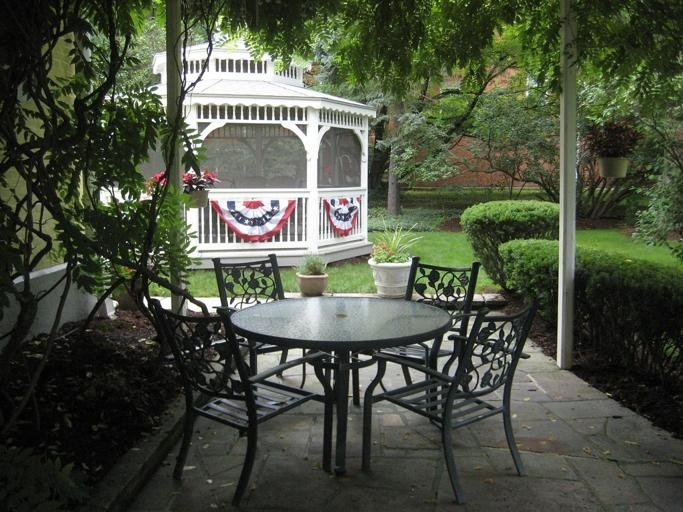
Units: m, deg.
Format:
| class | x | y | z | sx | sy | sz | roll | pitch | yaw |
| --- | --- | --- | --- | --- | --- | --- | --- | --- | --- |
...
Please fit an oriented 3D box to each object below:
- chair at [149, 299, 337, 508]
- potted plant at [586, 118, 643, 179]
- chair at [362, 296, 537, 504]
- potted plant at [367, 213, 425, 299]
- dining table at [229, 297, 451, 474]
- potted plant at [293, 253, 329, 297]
| class | x | y | z | sx | sy | sz | roll | pitch | yaw |
| --- | --- | --- | --- | --- | --- | --- | --- | --- | --- |
| chair | -0.727 | 0.801 | 4.068 | 1.075 | 1.240 | 1.448 | -5 | 11 | -18 |
| potted plant | 2.970 | -1.160 | 6.383 | 0.541 | 0.627 | 0.444 | 2 | 11 | 20 |
| chair | 0.722 | 0.914 | 3.999 | 1.126 | 1.181 | 1.058 | 2 | -1 | 5 |
| potted plant | 0.779 | 0.104 | 8.544 | 0.764 | 0.853 | 0.675 | -1 | 11 | -16 |
| dining table | -0.048 | 0.894 | 4.064 | 1.227 | 0.712 | 1.228 | 10 | 17 | 31 |
| potted plant | -0.418 | 0.306 | 8.502 | 0.584 | 0.642 | 0.554 | 0 | 0 | -4 |
